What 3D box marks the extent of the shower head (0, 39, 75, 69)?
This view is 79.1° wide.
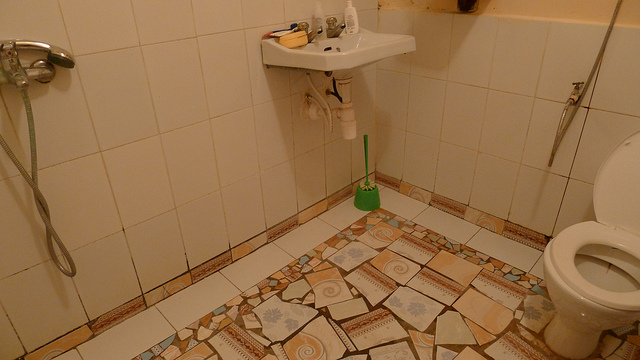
[{"bbox_3d":[-1.472,-0.624,2.056,0.225,0.050,0.156,20,15,-2],"label":"shower head"}]

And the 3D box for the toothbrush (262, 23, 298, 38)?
[{"bbox_3d":[-0.286,-1.004,2.633,0.216,0.055,0.037,-31,14,-7],"label":"toothbrush"}]
